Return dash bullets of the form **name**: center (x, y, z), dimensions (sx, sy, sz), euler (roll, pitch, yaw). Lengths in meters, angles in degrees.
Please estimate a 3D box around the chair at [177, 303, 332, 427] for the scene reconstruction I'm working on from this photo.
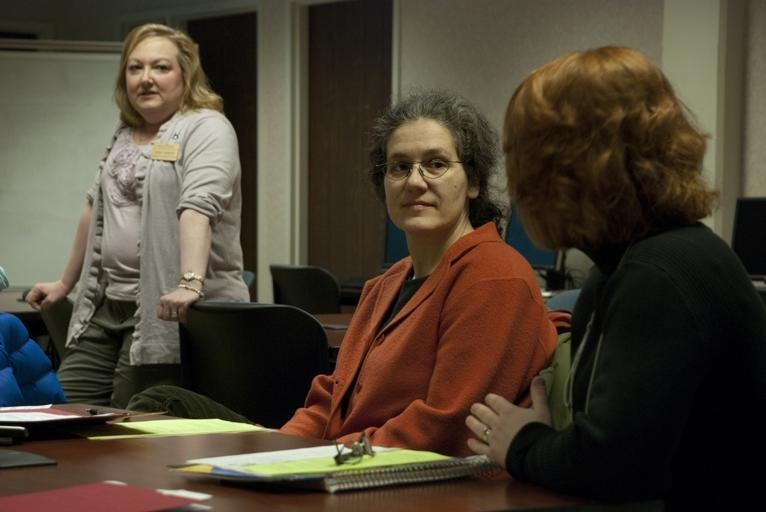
- **chair**: center (-0.491, 0.351, 2.521), dimensions (0.481, 0.562, 0.456), euler (-2, 4, -37)

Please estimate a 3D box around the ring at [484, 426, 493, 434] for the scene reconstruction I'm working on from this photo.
- **ring**: center (0.198, 0.323, 1.170), dimensions (0.008, 0.011, 0.011), euler (3, 17, 15)

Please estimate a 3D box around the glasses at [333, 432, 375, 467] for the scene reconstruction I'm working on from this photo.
- **glasses**: center (-0.052, 0.353, 1.150), dimensions (0.055, 0.047, 0.036), euler (-25, -25, 15)

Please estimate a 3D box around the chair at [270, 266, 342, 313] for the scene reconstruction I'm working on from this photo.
- **chair**: center (-0.542, 0.214, 4.500), dimensions (0.367, 0.437, 0.382), euler (-2, 5, -32)

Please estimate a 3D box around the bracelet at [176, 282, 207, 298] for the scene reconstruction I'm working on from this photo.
- **bracelet**: center (-0.739, 0.134, 2.430), dimensions (0.073, 0.028, 0.059), euler (28, -15, -10)
